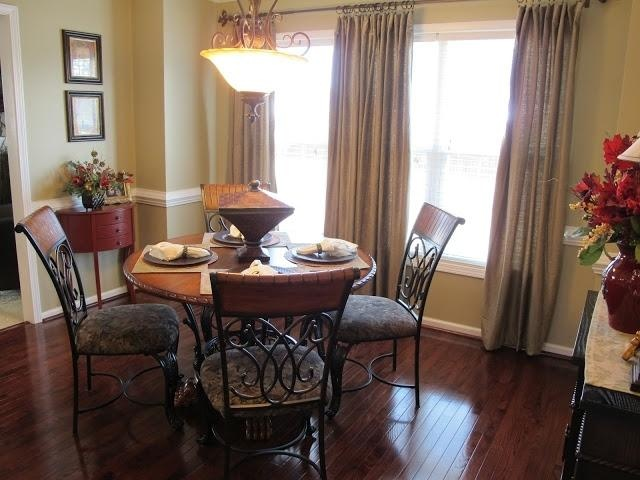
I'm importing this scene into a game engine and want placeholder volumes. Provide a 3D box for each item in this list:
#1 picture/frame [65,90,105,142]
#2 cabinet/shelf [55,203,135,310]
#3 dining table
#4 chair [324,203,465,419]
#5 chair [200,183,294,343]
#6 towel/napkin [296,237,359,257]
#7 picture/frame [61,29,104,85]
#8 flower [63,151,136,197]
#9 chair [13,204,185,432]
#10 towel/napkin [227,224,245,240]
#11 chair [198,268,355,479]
[{"bbox_3d":[-2.053,-1.085,4.266,0.046,0.508,0.407,11,14,27],"label":"picture/frame"},{"bbox_3d":[-1.842,0.105,3.998,0.395,0.871,0.685,7,16,22],"label":"cabinet/shelf"},{"bbox_3d":[-0.606,0.176,2.937,1.251,0.901,1.293,-11,29,-27],"label":"dining table"},{"bbox_3d":[0.418,0.448,3.312,0.866,1.286,0.747,2,12,-1],"label":"chair"},{"bbox_3d":[-0.434,0.006,3.097,0.419,0.829,0.416,1,16,-18],"label":"chair"},{"bbox_3d":[0.058,0.045,3.082,0.230,0.077,0.173,-6,9,-17],"label":"towel/napkin"},{"bbox_3d":[-2.039,-1.565,4.187,0.034,0.566,0.450,5,11,23],"label":"picture/frame"},{"bbox_3d":[-1.948,-0.551,4.309,0.395,0.323,0.412,7,10,27],"label":"flower"},{"bbox_3d":[-1.308,0.478,3.047,0.864,1.300,0.679,2,14,-9],"label":"chair"},{"bbox_3d":[-0.591,-0.047,3.406,0.108,0.093,0.126,16,25,36],"label":"towel/napkin"},{"bbox_3d":[-0.255,0.636,2.673,0.816,1.251,0.803,-4,18,-15],"label":"chair"}]
